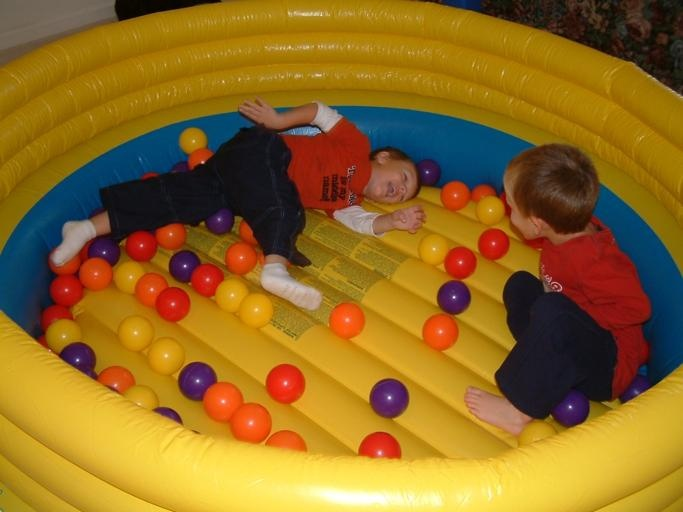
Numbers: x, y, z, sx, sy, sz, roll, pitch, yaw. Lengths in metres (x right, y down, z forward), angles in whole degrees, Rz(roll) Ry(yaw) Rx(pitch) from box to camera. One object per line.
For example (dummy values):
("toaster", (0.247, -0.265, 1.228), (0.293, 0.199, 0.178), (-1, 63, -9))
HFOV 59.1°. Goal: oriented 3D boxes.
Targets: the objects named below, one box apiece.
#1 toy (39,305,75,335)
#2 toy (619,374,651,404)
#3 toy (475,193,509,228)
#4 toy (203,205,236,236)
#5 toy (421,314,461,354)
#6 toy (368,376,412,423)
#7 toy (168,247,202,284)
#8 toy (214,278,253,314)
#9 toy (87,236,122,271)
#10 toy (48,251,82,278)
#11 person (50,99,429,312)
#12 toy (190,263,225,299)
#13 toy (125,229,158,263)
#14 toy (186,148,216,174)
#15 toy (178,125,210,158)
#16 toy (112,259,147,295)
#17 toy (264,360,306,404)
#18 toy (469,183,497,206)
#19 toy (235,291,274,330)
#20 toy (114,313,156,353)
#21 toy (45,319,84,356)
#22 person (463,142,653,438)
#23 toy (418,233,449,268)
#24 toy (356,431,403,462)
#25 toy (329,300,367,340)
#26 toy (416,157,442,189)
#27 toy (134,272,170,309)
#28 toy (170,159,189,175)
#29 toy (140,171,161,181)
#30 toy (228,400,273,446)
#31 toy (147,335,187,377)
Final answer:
("toy", (-1.257, 0.265, 2.675), (0.110, 0.137, 0.124), (7, 49, -19))
("toy", (1.106, 0.498, 2.267), (0.093, 0.100, 0.119), (15, 44, 13))
("toy", (0.735, -0.217, 2.992), (0.127, 0.155, 0.143), (22, 83, 10))
("toy", (-0.590, -0.166, 2.950), (0.130, 0.121, 0.130), (-17, 80, 9))
("toy", (0.422, 0.311, 2.574), (0.134, 0.158, 0.149), (20, 57, -24))
("toy", (0.192, 0.541, 2.372), (0.190, 0.204, 0.125), (-2, 84, 25))
("toy", (-0.712, 0.063, 2.798), (0.134, 0.128, 0.166), (38, 64, -32))
("toy", (-0.478, 0.140, 2.669), (0.133, 0.169, 0.132), (-16, 25, -40))
("toy", (-1.090, -0.033, 2.811), (0.136, 0.134, 0.131), (-8, 30, -3))
("toy", (-1.245, 0.047, 2.713), (0.121, 0.114, 0.114), (5, 39, -15))
("person", (-0.372, -0.317, 2.845), (1.348, 0.728, 1.039), (7, 28, -29))
("toy", (-0.596, 0.101, 2.667), (0.124, 0.159, 0.135), (19, 35, 10))
("toy", (-0.943, -0.047, 2.843), (0.141, 0.104, 0.128), (-17, 70, -13))
("toy", (-0.718, -0.489, 3.114), (0.135, 0.117, 0.120), (-37, 88, 6))
("toy", (-0.772, -0.600, 3.152), (0.138, 0.131, 0.141), (-4, 96, 3))
("toy", (-0.943, 0.093, 2.702), (0.126, 0.134, 0.169), (9, 67, -15))
("toy", (-0.221, 0.510, 2.380), (0.215, 0.233, 0.208), (1, 81, -4))
("toy", (0.738, -0.335, 3.132), (0.115, 0.096, 0.109), (-20, 103, -40))
("toy", (-0.368, 0.237, 2.602), (0.147, 0.136, 0.138), (-27, 72, -16))
("toy", (-0.847, 0.318, 2.488), (0.128, 0.156, 0.143), (25, 85, 10))
("toy", (-1.141, 0.317, 2.555), (0.128, 0.146, 0.128), (45, 83, -3))
("person", (0.954, 0.092, 2.516), (0.636, 0.701, 1.026), (-6, 98, 17))
("toy", (0.433, -0.032, 2.875), (0.123, 0.157, 0.133), (20, 47, 27))
("toy", (0.145, 0.687, 2.182), (0.134, 0.121, 0.126), (16, 41, -32))
("toy", (0.025, 0.278, 2.597), (0.165, 0.180, 0.199), (-2, 97, -31))
("toy", (0.469, -0.441, 3.183), (0.121, 0.072, 0.141), (12, 83, -8))
("toy", (-0.830, 0.147, 2.714), (0.124, 0.137, 0.166), (-1, 55, 24))
("toy", (-0.834, -0.464, 3.133), (0.091, 0.086, 0.088), (-12, 99, 2))
("toy", (-0.954, -0.397, 3.009), (0.086, 0.084, 0.052), (-15, 104, -42))
("toy", (-0.330, 0.607, 2.210), (0.134, 0.133, 0.166), (13, 47, -47))
("toy", (-0.700, 0.400, 2.450), (0.128, 0.137, 0.169), (13, 62, -8))
